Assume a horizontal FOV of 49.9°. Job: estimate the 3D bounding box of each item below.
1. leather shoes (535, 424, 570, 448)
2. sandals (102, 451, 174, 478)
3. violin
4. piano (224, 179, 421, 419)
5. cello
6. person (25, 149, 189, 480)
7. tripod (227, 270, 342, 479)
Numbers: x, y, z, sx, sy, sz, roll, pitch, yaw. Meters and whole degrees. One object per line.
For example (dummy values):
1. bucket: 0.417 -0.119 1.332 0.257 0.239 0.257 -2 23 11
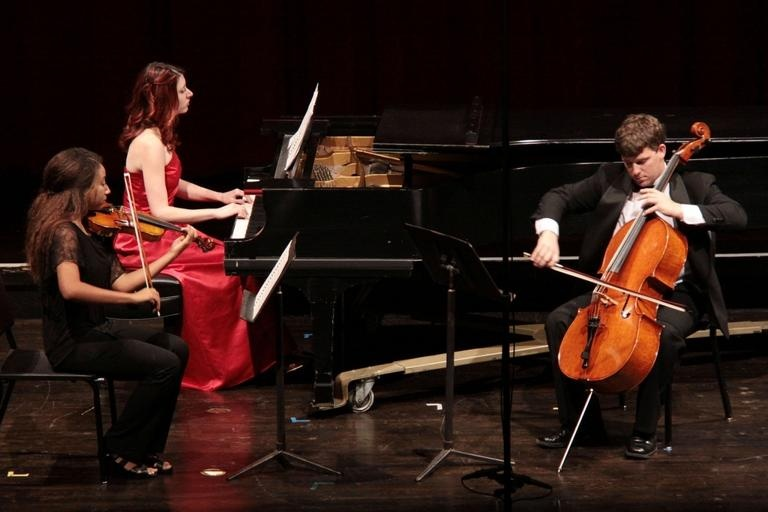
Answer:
1. leather shoes: 0.947 1.015 4.583 0.234 0.089 0.079 1 7 -9
2. sandals: -1.263 1.077 4.279 0.283 0.076 0.143 0 2 5
3. violin: -1.290 -0.160 4.604 0.648 0.110 0.283 13 20 -30
4. piano: -0.364 0.162 5.140 1.034 1.031 1.350 1 4 -1
5. cello: 1.327 0.099 4.378 0.399 1.247 0.496 39 -8 -31
6. person: -1.429 0.290 4.267 0.775 1.668 0.368 0 8 -4
7. tripod: -0.529 0.590 4.588 0.575 1.017 0.964 0 8 -3
